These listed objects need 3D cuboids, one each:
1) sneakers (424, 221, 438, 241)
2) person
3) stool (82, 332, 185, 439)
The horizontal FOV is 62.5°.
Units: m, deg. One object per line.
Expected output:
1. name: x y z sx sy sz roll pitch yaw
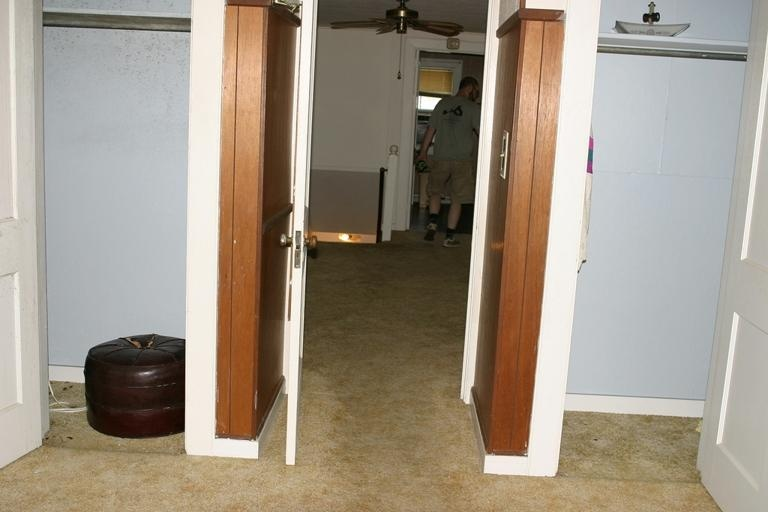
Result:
1. sneakers: 0.609 -0.294 8.170 0.115 0.308 0.131 5 43 1
2. person: 0.810 -1.192 7.965 0.752 2.072 0.491 13 17 39
3. stool: -1.427 0.723 3.638 0.536 0.377 0.536 -7 17 -38
